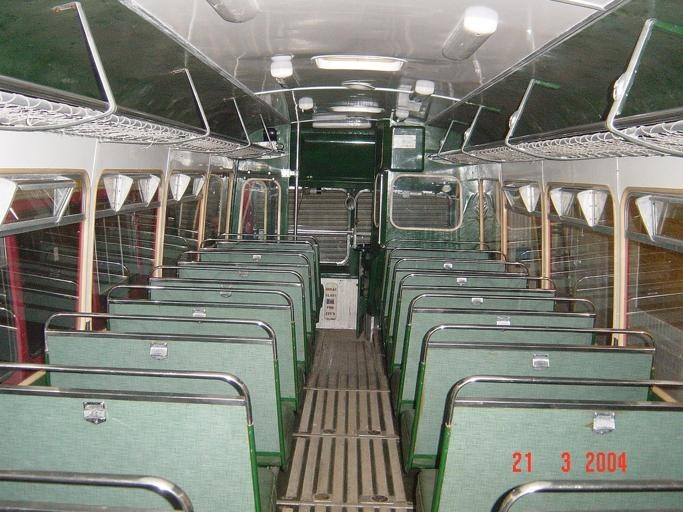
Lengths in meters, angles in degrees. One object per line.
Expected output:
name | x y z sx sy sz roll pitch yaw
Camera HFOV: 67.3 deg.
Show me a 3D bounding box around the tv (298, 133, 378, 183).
tv | -0.086 -1.744 10.350 1.738 0.849 1.041 1 -2 -3
